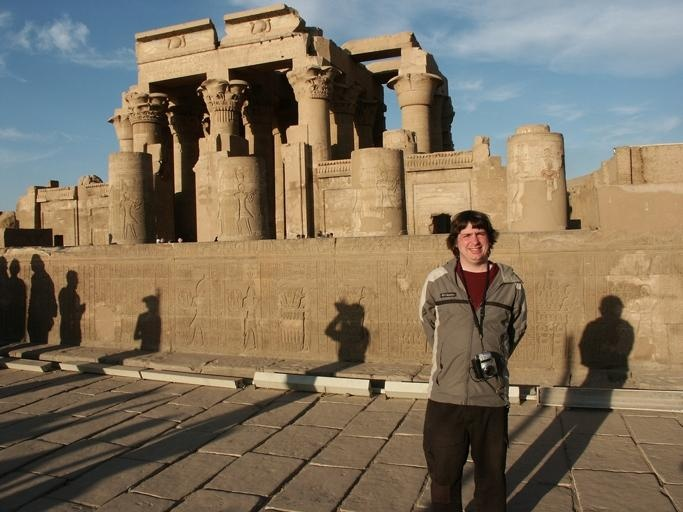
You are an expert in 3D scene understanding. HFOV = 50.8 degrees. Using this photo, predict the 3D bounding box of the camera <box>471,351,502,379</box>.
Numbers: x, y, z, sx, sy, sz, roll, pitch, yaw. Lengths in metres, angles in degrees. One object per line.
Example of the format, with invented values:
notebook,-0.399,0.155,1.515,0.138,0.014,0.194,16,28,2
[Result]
camera,1.092,0.819,5.396,0.198,0.194,0.113,-5,-3,-13
